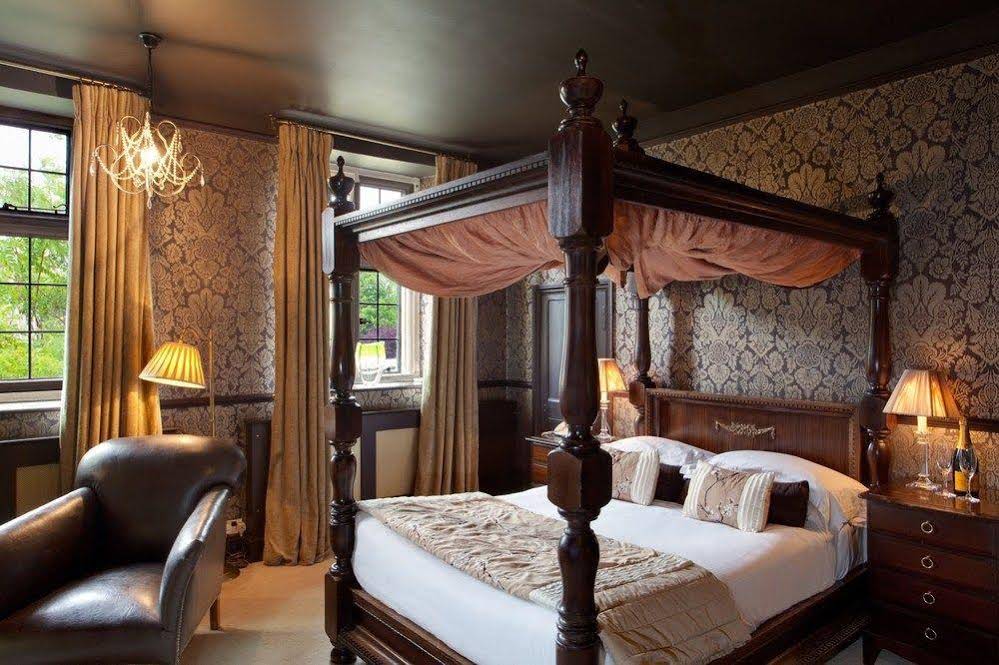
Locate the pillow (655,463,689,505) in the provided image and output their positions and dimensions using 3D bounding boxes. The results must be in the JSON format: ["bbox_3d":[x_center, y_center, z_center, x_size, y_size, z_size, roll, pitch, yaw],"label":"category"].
[{"bbox_3d":[1.362,1.218,5.666,0.233,0.264,0.110,9,-21,17],"label":"pillow"}]

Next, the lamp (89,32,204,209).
[{"bbox_3d":[-2.796,-1.592,5.643,0.795,1.067,1.046,0,-1,-19],"label":"lamp"}]

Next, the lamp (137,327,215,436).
[{"bbox_3d":[-2.629,0.430,5.870,0.503,0.863,0.683,0,-1,-21],"label":"lamp"}]

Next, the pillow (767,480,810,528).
[{"bbox_3d":[2.093,1.235,5.158,0.134,0.281,0.315,24,-19,-25],"label":"pillow"}]
